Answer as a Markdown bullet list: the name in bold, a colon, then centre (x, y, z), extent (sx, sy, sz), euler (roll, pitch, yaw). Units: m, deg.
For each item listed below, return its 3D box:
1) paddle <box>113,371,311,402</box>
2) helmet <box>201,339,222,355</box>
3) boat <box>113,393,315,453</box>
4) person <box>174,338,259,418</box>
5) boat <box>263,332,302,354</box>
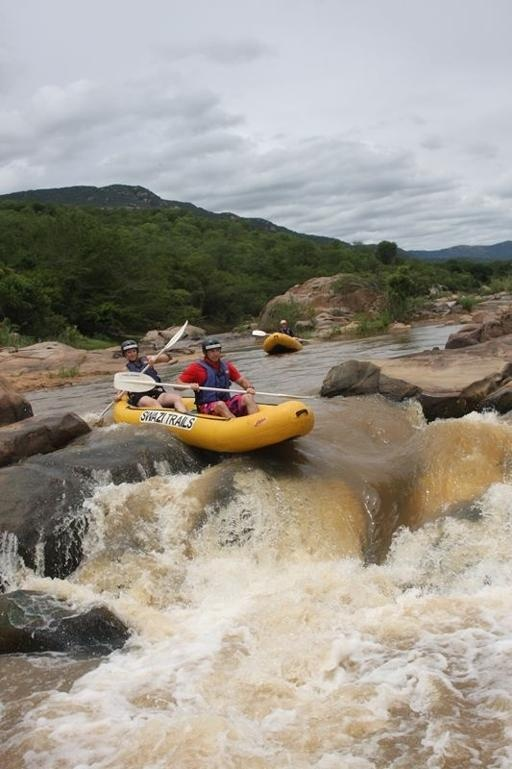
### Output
- **paddle**: centre (-0.610, 0.055, 9.859), extent (3.536, 0.468, 0.133), euler (6, -28, 14)
- **helmet**: centre (-0.571, -0.464, 7.949), extent (0.181, 0.170, 0.226), euler (-9, 9, -22)
- **boat**: centre (-0.633, 0.490, 7.344), extent (0.865, 0.409, 2.522), euler (-8, 5, -44)
- **person**: centre (-0.398, 0.051, 7.778), extent (0.844, 1.216, 1.022), euler (-13, 10, -38)
- **boat**: centre (0.875, -1.334, 21.168), extent (1.185, 0.780, 0.872), euler (-4, 11, 2)
